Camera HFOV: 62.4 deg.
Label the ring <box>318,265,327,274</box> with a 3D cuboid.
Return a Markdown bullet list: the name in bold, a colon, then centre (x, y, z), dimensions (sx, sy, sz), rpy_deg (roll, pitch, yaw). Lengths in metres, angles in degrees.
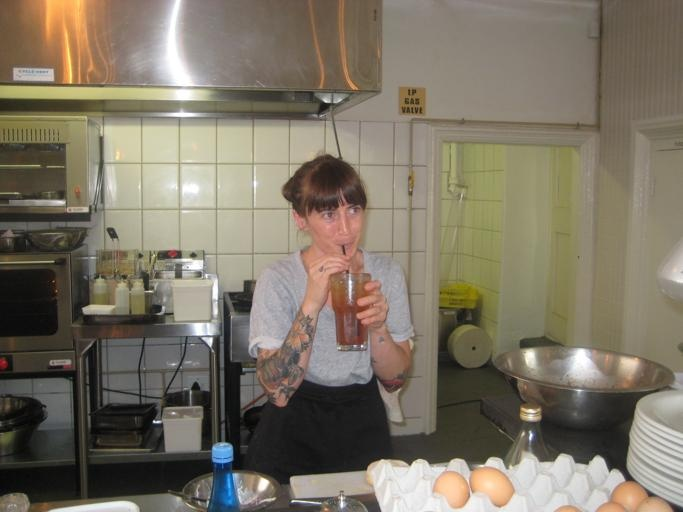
- **ring**: centre (-0.057, 0.041, 1.737), dimensions (0.019, 0.009, 0.035), rpy_deg (-7, 12, -3)

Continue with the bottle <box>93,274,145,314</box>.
- **bottle**: centre (-1.162, 0.207, 2.929), dimensions (0.176, 0.172, 0.063), rpy_deg (2, 2, 7)

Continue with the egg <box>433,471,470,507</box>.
- **egg**: centre (0.237, 0.504, 1.216), dimensions (0.082, 0.066, 0.050), rpy_deg (-4, 8, -15)

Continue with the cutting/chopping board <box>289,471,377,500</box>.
- **cutting/chopping board**: centre (-0.027, 0.573, 1.408), dimensions (0.200, 0.017, 0.084), rpy_deg (-2, 8, -4)

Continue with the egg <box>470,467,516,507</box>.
- **egg**: centre (0.327, 0.504, 1.224), dimensions (0.092, 0.068, 0.075), rpy_deg (-1, 8, 9)

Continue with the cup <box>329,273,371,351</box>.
- **cup**: centre (0.034, 0.174, 1.733), dimensions (0.130, 0.254, 0.112), rpy_deg (-4, 8, -17)

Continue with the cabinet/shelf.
- **cabinet/shelf**: centre (-1.167, 0.733, 3.165), dimensions (0.747, 1.222, 0.906), rpy_deg (-1, 3, -23)

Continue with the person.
- **person**: centre (-0.044, 0.187, 1.901), dimensions (0.553, 1.046, 0.409), rpy_deg (-1, 7, 7)
